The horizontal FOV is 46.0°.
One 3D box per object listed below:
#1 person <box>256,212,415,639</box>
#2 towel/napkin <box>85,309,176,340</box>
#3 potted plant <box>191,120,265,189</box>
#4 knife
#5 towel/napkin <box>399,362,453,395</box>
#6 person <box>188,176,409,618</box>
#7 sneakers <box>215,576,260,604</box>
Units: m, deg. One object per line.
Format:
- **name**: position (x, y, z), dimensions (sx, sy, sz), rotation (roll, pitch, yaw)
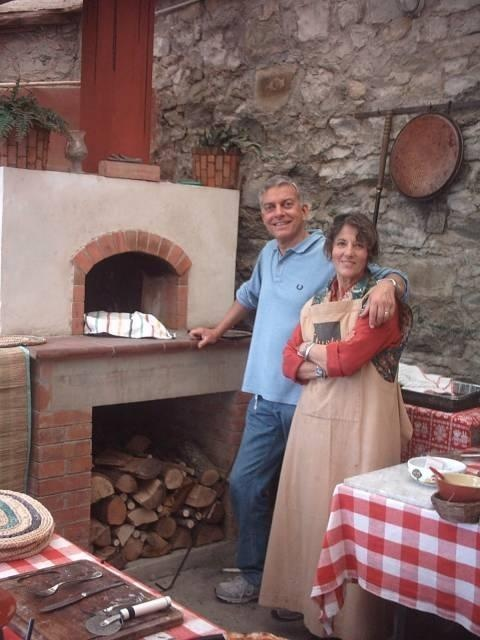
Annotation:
- **person**: position (0.462, 0.377, 2.358), dimensions (0.525, 1.796, 0.563), rotation (-1, 3, -43)
- **towel/napkin**: position (-0.664, 0.030, 3.354), dimensions (0.525, 0.152, 0.220), rotation (2, -2, -5)
- **potted plant**: position (-0.108, -1.205, 4.159), dimensions (0.502, 0.509, 0.514), rotation (1, 8, -8)
- **knife**: position (-0.260, 0.447, 0.945), dimensions (0.030, 0.007, 0.134), rotation (3, 3, 37)
- **towel/napkin**: position (0.852, 0.253, 2.643), dimensions (0.200, 0.114, 0.188), rotation (-11, 14, -41)
- **person**: position (0.240, 0.327, 2.731), dimensions (0.422, 2.000, 1.380), rotation (3, -1, -41)
- **sneakers**: position (-0.010, 1.332, 2.807), dimensions (0.189, 0.085, 0.100), rotation (5, 1, -18)
